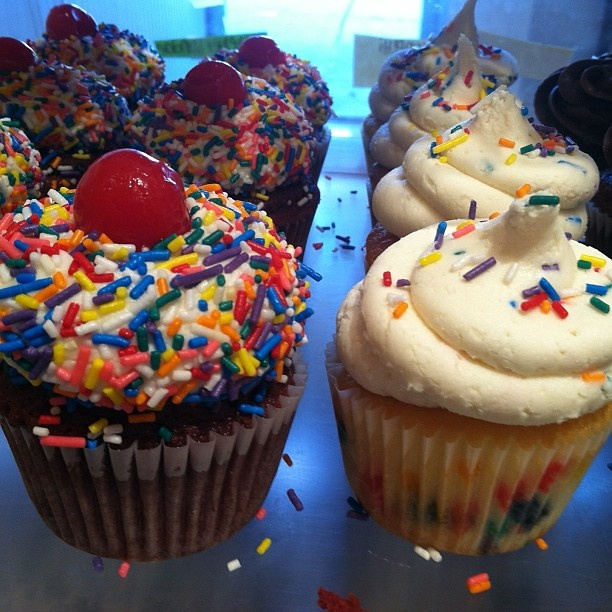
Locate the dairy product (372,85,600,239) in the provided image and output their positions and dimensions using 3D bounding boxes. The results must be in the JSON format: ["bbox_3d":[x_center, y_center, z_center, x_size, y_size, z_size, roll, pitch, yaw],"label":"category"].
[{"bbox_3d":[0.708,-0.544,2.723,0.942,0.374,0.669,1,38,-6],"label":"dairy product"}]
